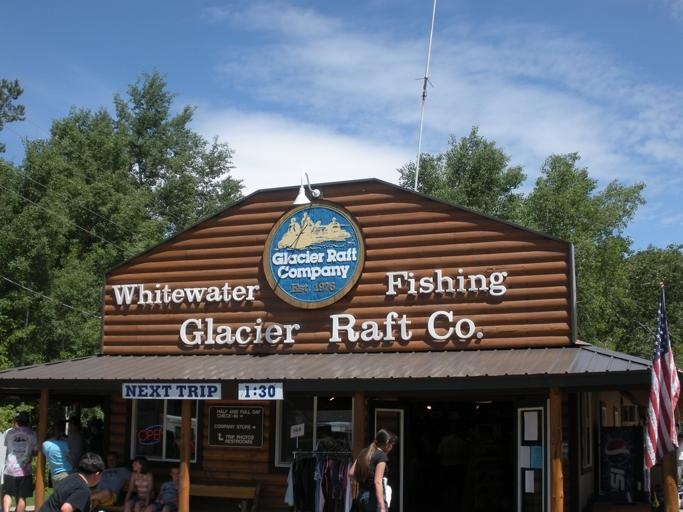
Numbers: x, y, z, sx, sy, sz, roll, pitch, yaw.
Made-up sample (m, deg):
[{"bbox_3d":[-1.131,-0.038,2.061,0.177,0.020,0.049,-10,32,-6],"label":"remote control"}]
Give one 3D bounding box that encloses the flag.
[{"bbox_3d":[6.553,2.398,18.312,0.720,3.740,0.941,-3,-13,19],"label":"flag"}]
